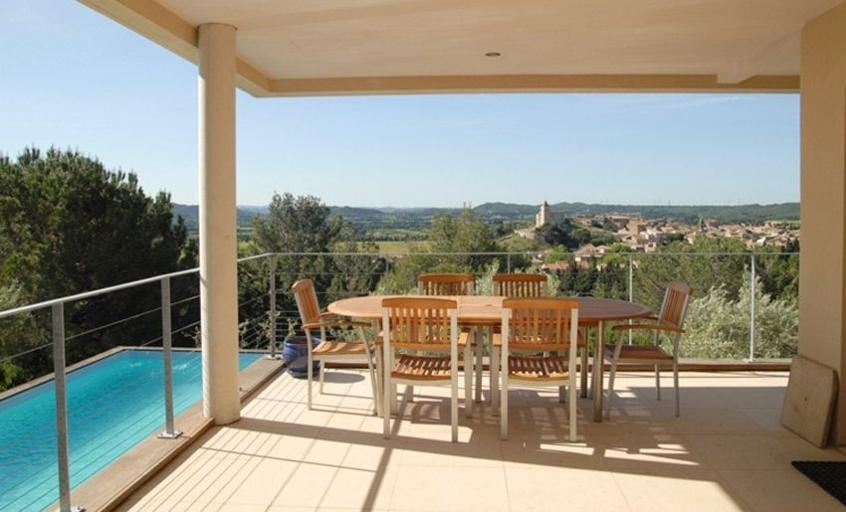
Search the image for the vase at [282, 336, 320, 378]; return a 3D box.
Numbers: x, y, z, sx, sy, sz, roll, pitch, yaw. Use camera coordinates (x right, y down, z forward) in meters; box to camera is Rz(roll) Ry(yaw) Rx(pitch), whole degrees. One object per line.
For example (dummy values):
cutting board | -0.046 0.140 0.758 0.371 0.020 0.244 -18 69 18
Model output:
vase | -1.583 1.264 7.568 0.500 0.434 0.508 2 4 8
